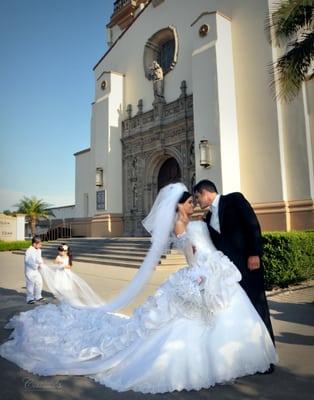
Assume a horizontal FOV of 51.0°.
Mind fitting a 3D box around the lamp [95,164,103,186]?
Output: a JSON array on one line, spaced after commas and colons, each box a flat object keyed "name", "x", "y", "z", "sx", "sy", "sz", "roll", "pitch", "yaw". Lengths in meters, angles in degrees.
[{"name": "lamp", "x": -2.946, "y": -1.161, "z": 16.856, "sx": 0.284, "sy": 0.958, "sz": 0.349, "roll": -7, "pitch": -7, "yaw": 44}]

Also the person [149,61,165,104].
[{"name": "person", "x": 0.052, "y": -5.370, "z": 15.340, "sx": 0.534, "sy": 1.993, "sz": 0.807, "roll": -1, "pitch": -5, "yaw": -17}]

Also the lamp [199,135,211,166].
[{"name": "lamp", "x": 1.685, "y": -1.655, "z": 11.509, "sx": 0.374, "sy": 1.072, "sz": 0.363, "roll": -3, "pitch": -5, "yaw": 10}]

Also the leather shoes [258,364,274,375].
[{"name": "leather shoes", "x": 0.988, "y": 1.533, "z": 2.991, "sx": 0.118, "sy": 0.073, "sz": 0.108, "roll": -13, "pitch": -15, "yaw": 43}]

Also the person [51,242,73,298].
[{"name": "person", "x": -1.813, "y": 1.398, "z": 6.346, "sx": 0.339, "sy": 1.065, "sz": 0.915, "roll": -1, "pitch": -5, "yaw": -18}]

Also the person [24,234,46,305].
[{"name": "person", "x": -2.359, "y": 1.329, "z": 6.344, "sx": 0.334, "sy": 1.240, "sz": 0.475, "roll": -1, "pitch": -5, "yaw": -21}]
